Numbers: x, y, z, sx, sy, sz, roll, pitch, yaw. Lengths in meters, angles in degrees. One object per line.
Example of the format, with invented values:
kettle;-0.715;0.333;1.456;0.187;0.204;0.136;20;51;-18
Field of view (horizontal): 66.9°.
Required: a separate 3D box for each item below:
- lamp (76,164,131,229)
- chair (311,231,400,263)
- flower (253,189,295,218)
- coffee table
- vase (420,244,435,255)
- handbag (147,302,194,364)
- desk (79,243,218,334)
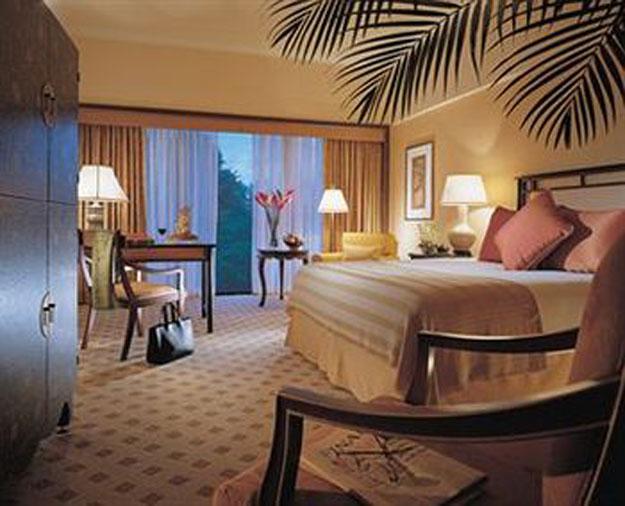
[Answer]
lamp;-2.045;-0.549;4.626;0.383;0.605;1.175;-2;5;-23
chair;0.600;-0.107;5.852;0.688;0.539;0.483;0;-3;42
flower;-0.562;-0.729;6.730;0.455;0.346;0.454;-3;3;-32
coffee table;-0.457;0.318;6.269;0.724;0.837;0.744;0;-2;6
vase;1.378;-0.039;5.610;0.116;0.072;0.120;-1;5;-12
handbag;-1.165;0.667;3.860;0.159;0.483;0.455;-2;0;33
desk;-1.530;0.322;4.025;0.712;1.030;0.764;6;7;42
